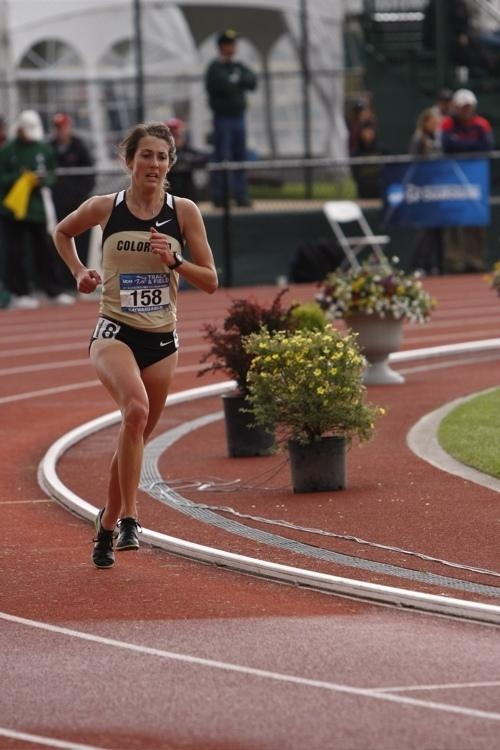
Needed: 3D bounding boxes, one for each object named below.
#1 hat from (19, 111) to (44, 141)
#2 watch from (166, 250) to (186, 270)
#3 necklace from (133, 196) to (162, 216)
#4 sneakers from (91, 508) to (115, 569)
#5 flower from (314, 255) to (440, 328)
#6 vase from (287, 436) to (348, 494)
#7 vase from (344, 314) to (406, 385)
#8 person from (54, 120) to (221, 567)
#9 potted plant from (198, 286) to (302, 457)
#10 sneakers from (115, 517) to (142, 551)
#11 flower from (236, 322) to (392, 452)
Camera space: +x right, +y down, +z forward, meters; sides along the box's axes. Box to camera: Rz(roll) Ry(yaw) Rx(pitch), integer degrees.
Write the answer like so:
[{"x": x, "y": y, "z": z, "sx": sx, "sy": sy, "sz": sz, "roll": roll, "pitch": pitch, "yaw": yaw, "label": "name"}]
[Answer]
[{"x": -4.029, "y": -4.565, "z": 15.569, "sx": 0.412, "sy": 0.616, "sz": 0.722, "roll": -4, "pitch": 4, "yaw": -14, "label": "hat"}, {"x": -0.308, "y": -0.465, "z": 3.565, "sx": 0.056, "sy": 0.075, "sz": 0.087, "roll": 30, "pitch": 39, "yaw": 6, "label": "watch"}, {"x": -0.449, "y": -0.731, "z": 3.753, "sx": 0.089, "sy": 0.101, "sz": 0.040, "roll": -2, "pitch": 38, "yaw": -10, "label": "necklace"}, {"x": -0.684, "y": 0.754, "z": 3.979, "sx": 0.099, "sy": 0.273, "sz": 0.116, "roll": -1, "pitch": -5, "yaw": -10, "label": "sneakers"}, {"x": 1.291, "y": -0.783, "z": 8.922, "sx": 1.083, "sy": 0.525, "sz": 0.982, "roll": -3, "pitch": 7, "yaw": 1, "label": "flower"}, {"x": 0.475, "y": 0.546, "z": 5.207, "sx": 0.436, "sy": 0.319, "sz": 0.247, "roll": -7, "pitch": -10, "yaw": 39, "label": "vase"}, {"x": 1.286, "y": -0.289, "z": 8.838, "sx": 0.667, "sy": 0.659, "sz": 0.602, "roll": 1, "pitch": -3, "yaw": -20, "label": "vase"}, {"x": -0.481, "y": -0.112, "z": 3.843, "sx": 0.689, "sy": 2.003, "sz": 0.688, "roll": -4, "pitch": 5, "yaw": -12, "label": "person"}, {"x": 0.101, "y": -0.101, "z": 6.319, "sx": 0.772, "sy": 1.046, "sz": 0.752, "roll": -2, "pitch": 31, "yaw": 34, "label": "potted plant"}, {"x": -0.534, "y": 0.708, "z": 3.745, "sx": 0.101, "sy": 0.197, "sz": 0.283, "roll": -3, "pitch": 4, "yaw": -6, "label": "sneakers"}, {"x": 0.373, "y": 0.072, "z": 5.363, "sx": 0.981, "sy": 0.716, "sz": 0.771, "roll": 0, "pitch": -2, "yaw": 4, "label": "flower"}]
